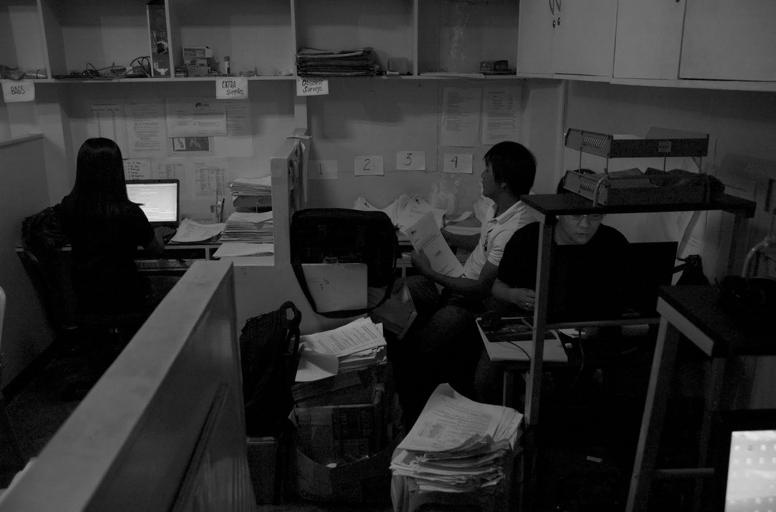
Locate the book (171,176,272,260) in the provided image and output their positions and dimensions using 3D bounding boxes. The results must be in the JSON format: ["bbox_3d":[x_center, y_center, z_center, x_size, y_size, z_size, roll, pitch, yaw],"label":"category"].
[{"bbox_3d":[-0.865,-0.199,3.863,0.673,0.143,0.601,-1,21,1],"label":"book"}]

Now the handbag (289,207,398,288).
[{"bbox_3d":[-0.208,-0.087,3.076,0.485,0.332,0.168,1,26,0],"label":"handbag"}]

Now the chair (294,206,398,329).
[{"bbox_3d":[-0.205,0.001,3.359,0.639,0.590,0.517,0,24,-3],"label":"chair"}]

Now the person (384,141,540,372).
[{"bbox_3d":[0.451,0.116,3.721,0.885,1.545,0.695,4,20,7],"label":"person"}]

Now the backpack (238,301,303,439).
[{"bbox_3d":[-0.543,0.530,2.990,0.287,0.519,0.401,-5,14,-12],"label":"backpack"}]

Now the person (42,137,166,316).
[{"bbox_3d":[-1.636,-0.174,3.686,0.513,1.027,0.248,-9,15,-25],"label":"person"}]

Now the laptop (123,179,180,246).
[{"bbox_3d":[-1.702,-0.340,4.351,0.477,0.364,0.368,-2,8,-11],"label":"laptop"}]

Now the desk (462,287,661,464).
[{"bbox_3d":[0.748,0.485,2.679,0.669,0.584,0.655,5,11,13],"label":"desk"}]
